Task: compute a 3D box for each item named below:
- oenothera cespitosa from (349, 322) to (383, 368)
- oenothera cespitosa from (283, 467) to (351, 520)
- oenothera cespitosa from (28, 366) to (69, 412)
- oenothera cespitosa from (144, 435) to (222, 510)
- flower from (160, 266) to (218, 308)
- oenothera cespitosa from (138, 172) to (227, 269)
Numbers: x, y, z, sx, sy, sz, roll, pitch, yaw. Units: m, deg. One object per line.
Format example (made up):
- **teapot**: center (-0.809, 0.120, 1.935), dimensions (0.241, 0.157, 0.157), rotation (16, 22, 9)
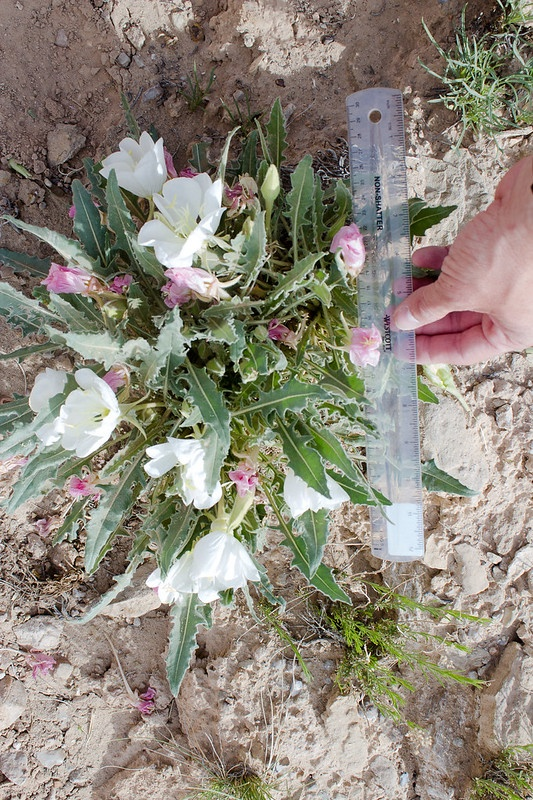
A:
- **oenothera cespitosa**: center (0.207, -0.113, 1.535), dimensions (0.069, 0.072, 0.078), rotation (-13, -26, 9)
- **oenothera cespitosa**: center (0.094, 0.207, 1.609), dimensions (0.134, 0.103, 0.122), rotation (6, 18, -18)
- **oenothera cespitosa**: center (-0.461, -0.025, 1.527), dimensions (0.088, 0.089, 0.029), rotation (37, 2, -9)
- **oenothera cespitosa**: center (-0.154, 0.122, 1.452), dimensions (0.160, 0.064, 0.139), rotation (35, -36, 8)
- **flower**: center (-0.162, -0.231, 1.482), dimensions (0.102, 0.049, 0.072), rotation (1, 20, 16)
- **oenothera cespitosa**: center (-0.144, -0.354, 1.441), dimensions (0.104, 0.178, 0.181), rotation (15, -26, -41)
